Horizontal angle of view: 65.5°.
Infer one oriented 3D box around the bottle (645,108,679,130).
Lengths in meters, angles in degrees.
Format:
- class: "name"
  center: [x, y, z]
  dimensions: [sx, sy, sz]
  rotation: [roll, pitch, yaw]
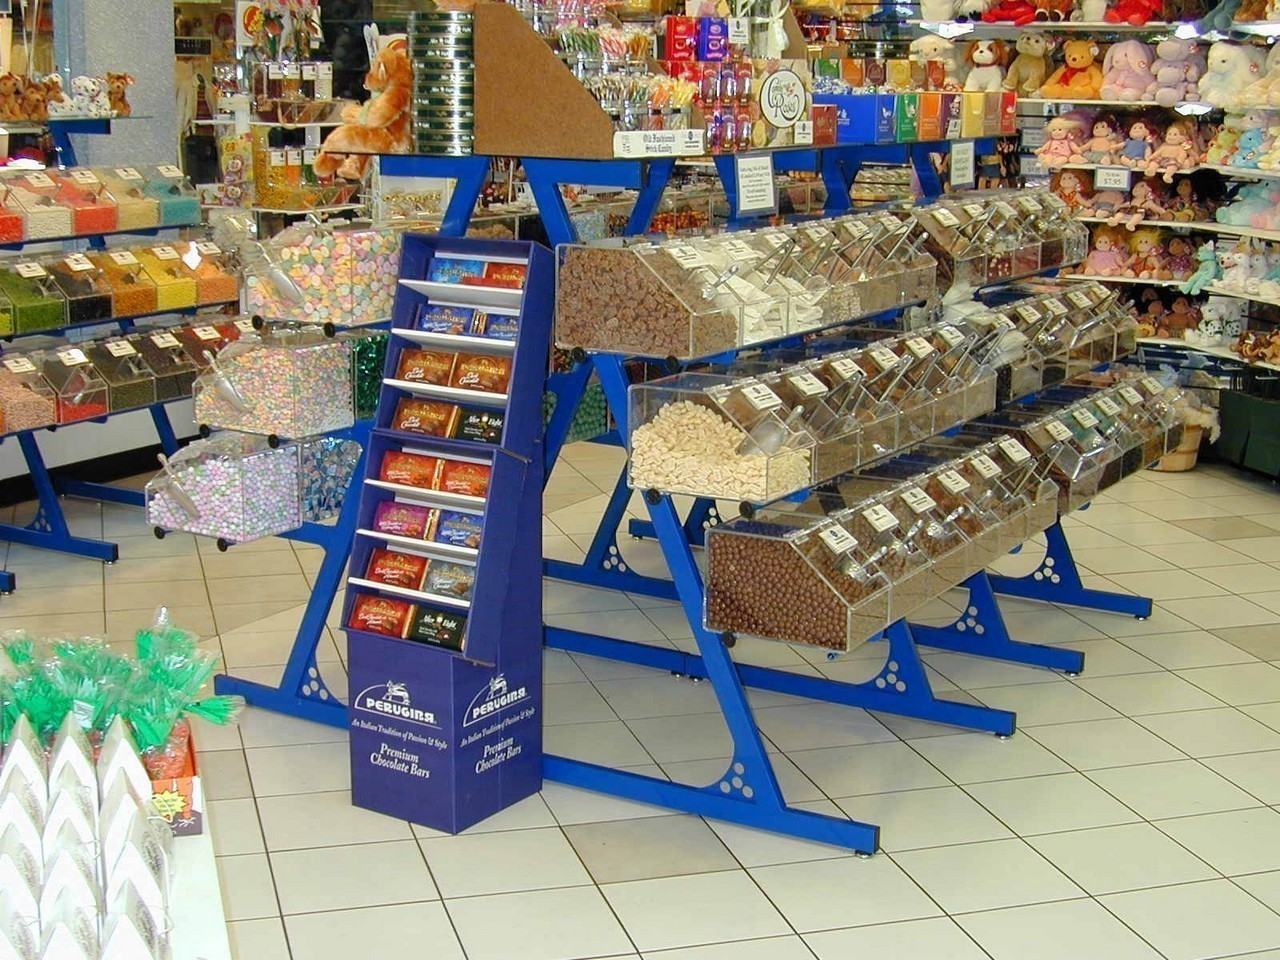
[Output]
- class: "bottle"
  center: [0.079, -1.108, 3.050]
  dimensions: [0.036, 0.061, 0.176]
  rotation: [11, 23, 26]
